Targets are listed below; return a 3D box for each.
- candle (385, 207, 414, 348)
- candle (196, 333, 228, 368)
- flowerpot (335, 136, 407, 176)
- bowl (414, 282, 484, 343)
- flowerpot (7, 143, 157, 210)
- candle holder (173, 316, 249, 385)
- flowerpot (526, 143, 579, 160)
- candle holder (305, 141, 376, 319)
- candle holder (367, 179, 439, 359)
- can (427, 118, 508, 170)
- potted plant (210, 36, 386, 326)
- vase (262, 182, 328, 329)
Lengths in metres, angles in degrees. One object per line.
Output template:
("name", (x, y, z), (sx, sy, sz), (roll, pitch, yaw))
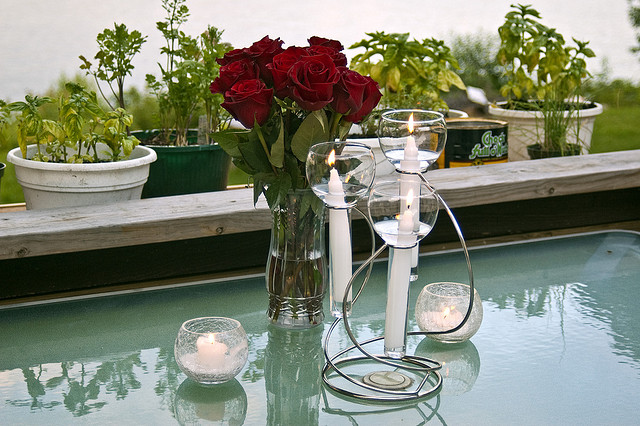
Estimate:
("candle", (0.115, 0.112, 0.748), (0.039, 0.209, 0.037), (5, 4, 20))
("candle", (-0.177, 0.225, 0.804), (0.057, 0.058, 0.054), (-1, 15, -13))
("flowerpot", (0.159, -0.177, 1.374), (0.161, 0.064, 0.165), (-2, 15, -1))
("bowl", (0.252, 0.201, 0.980), (0.149, 0.093, 0.136), (1, -7, 0))
("flowerpot", (-0.689, -0.113, 1.453), (0.431, 0.163, 0.319), (2, 13, 14))
("candle holder", (-0.180, 0.237, 0.844), (0.119, 0.078, 0.113), (-1, 17, -9))
("flowerpot", (0.836, -0.234, 1.874), (0.070, 0.054, 0.152), (-4, 13, -15))
("candle holder", (0.025, 0.036, 0.866), (0.112, 0.300, 0.107), (-9, 23, -16))
("candle holder", (0.107, 0.086, 0.764), (0.097, 0.265, 0.093), (-4, 20, -12))
("can", (0.548, -0.252, 1.754), (0.232, 0.241, 0.213), (2, 48, 15))
("potted plant", (-0.039, -0.035, 0.899), (0.290, 0.548, 0.212), (1, 14, 6))
("vase", (-0.038, 0.094, 0.996), (0.118, 0.291, 0.104), (-10, 22, -21))
